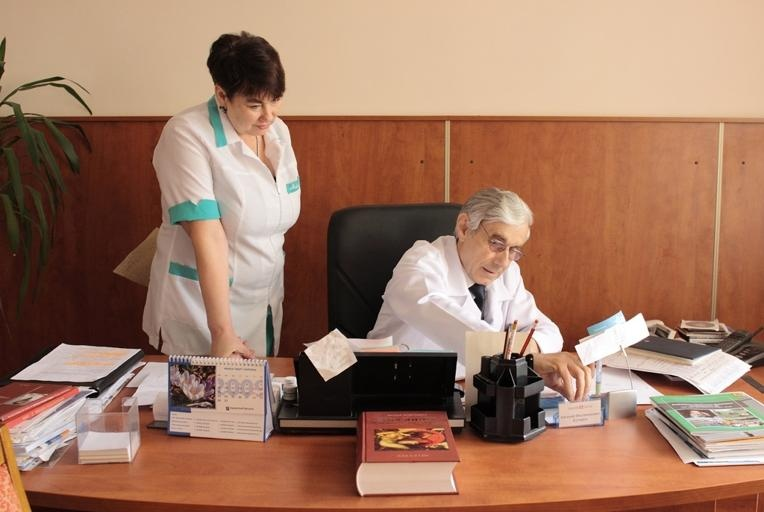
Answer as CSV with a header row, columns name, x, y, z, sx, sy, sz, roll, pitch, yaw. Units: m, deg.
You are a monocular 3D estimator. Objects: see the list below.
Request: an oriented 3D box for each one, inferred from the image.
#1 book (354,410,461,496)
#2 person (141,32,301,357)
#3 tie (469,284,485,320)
name,x,y,z,sx,sy,sz,roll,pitch,yaw
book,0.086,0.603,1.680,0.284,0.107,0.366,-3,3,5
person,-0.633,-0.160,2.253,0.705,1.409,0.640,-6,12,-25
tie,0.410,0.198,2.381,0.079,0.139,0.032,-2,6,-32
